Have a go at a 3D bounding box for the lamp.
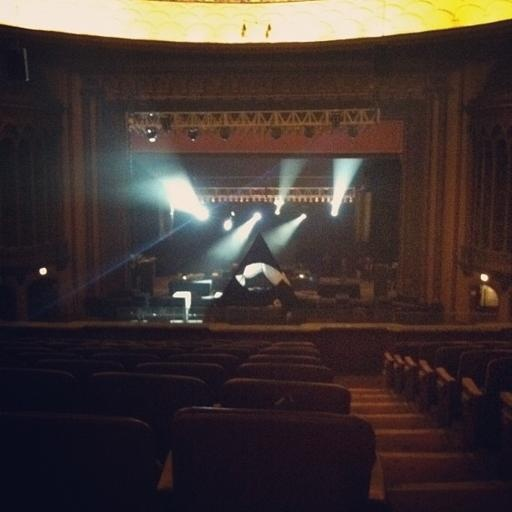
[{"bbox_3d":[-0.025,-2.806,16.784,3.910,0.793,0.614,1,37,6],"label":"lamp"}]
